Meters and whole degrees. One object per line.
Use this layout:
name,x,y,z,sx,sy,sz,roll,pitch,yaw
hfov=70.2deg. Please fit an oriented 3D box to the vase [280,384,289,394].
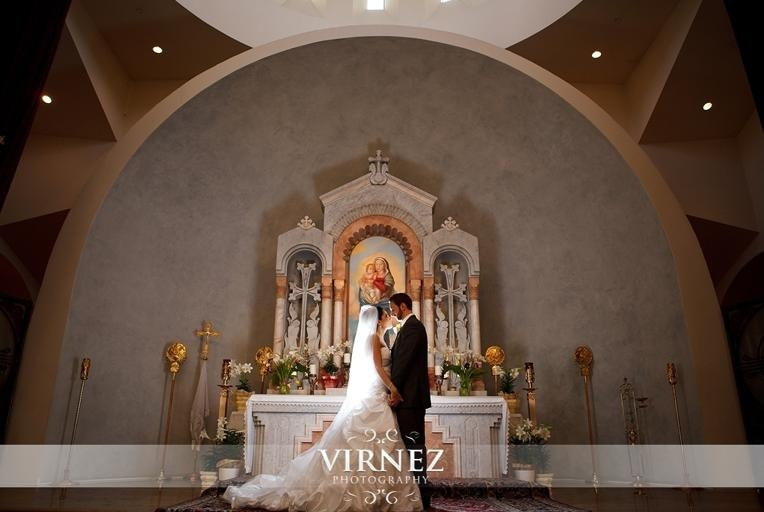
vase,-1.541,2.104,8.629,0.145,0.149,0.083,6,-20,-13

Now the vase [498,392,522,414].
vase,2.122,2.433,8.989,0.256,0.332,0.467,-15,-26,37

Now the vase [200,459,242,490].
vase,-2.401,3.221,8.091,0.376,0.209,0.531,12,-20,-44

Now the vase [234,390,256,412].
vase,-2.343,2.422,9.061,0.210,0.401,0.553,6,-21,-13

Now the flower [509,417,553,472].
flower,2.285,2.947,8.629,0.801,0.948,0.689,3,-20,-4

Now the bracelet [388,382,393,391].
bracelet,0.109,1.575,6.552,0.061,0.085,0.084,5,-29,-14

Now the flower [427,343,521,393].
flower,1.648,1.995,9.209,1.477,0.611,0.765,20,-28,-32

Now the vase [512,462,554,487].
vase,2.272,3.204,8.105,0.392,0.344,0.439,9,-14,-39
